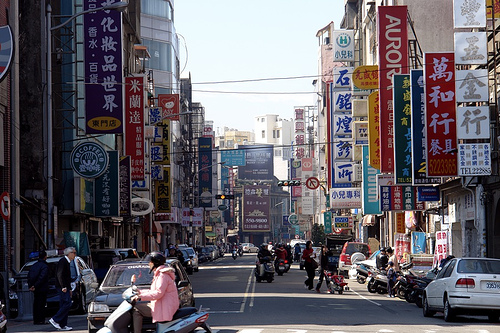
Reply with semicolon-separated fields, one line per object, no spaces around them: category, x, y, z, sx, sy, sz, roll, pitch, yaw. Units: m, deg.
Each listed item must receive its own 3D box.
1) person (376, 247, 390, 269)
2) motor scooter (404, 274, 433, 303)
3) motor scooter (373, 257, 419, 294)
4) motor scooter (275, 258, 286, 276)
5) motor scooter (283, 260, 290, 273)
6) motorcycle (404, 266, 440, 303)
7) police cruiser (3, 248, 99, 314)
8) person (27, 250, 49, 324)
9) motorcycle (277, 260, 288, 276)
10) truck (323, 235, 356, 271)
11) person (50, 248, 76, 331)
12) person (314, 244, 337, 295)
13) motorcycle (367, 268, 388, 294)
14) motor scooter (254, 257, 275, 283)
person;6.518;4.531;49.675;0.596;1.000;2.338;-2;-5;7
motor scooter;7.244;5.303;43.706;1.043;1.251;1.730;-2;-4;6
motor scooter;6.955;5.294;47.763;2.512;1.625;1.392;-2;-7;43
motor scooter;1.962;6.383;64.203;0.531;1.107;1.038;-1;-4;0
motor scooter;2.441;6.395;64.920;0.266;0.677;0.486;4;3;-3
motorcycle;7.866;5.116;43.609;2.150;1.415;0.967;0;-1;-2
police cruiser;-7.648;4.760;41.581;2.421;1.971;4.202;-1;-7;2
person;-8.019;4.601;38.456;0.740;2.733;0.624;-1;-4;-10
motorcycle;2.048;6.442;64.302;0.994;1.149;2.126;-1;-3;1
truck;5.144;5.306;62.270;1.708;1.712;2.971;1;0;-2
person;-6.756;4.504;36.884;0.948;2.764;1.013;-2;-1;-18
person;3.658;5.018;49.359;0.900;2.405;0.621;-9;16;-29
motorcycle;6.196;5.504;48.455;0.652;1.232;1.637;0;-5;-18
motor scooter;0.818;5.687;55.550;0.991;1.396;1.212;-1;-4;-3
